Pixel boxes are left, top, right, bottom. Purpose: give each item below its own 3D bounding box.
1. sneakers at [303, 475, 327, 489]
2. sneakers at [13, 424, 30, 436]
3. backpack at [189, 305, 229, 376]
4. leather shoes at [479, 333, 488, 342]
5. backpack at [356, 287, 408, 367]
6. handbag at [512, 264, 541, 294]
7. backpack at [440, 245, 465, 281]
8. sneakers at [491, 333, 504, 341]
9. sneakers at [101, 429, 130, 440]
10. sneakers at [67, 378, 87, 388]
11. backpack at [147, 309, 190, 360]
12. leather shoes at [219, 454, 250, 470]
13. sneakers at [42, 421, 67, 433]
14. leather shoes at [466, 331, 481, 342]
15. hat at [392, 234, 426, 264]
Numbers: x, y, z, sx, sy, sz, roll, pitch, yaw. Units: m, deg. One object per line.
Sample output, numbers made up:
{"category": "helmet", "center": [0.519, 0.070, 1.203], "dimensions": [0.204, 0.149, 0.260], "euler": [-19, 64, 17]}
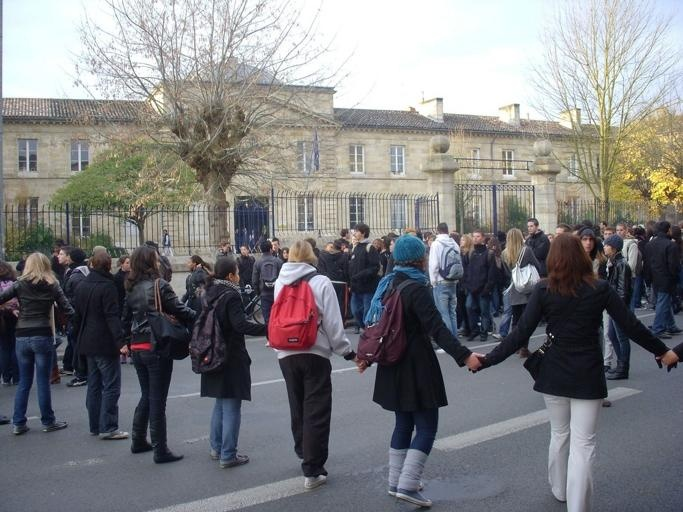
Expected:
{"category": "sneakers", "center": [-0.309, 2.581, 9.472], "dimensions": [0.264, 0.134, 0.103], "euler": [-5, 5, -39]}
{"category": "sneakers", "center": [-4.402, 2.358, 11.177], "dimensions": [0.239, 0.099, 0.109], "euler": [14, -26, -29]}
{"category": "backpack", "center": [-1.653, 1.011, 9.954], "dimensions": [0.495, 0.836, 0.297], "euler": [6, 15, 32]}
{"category": "leather shoes", "center": [2.690, 1.528, 15.488], "dimensions": [0.098, 0.132, 0.312], "euler": [-2, -8, 16]}
{"category": "backpack", "center": [0.452, 0.805, 9.310], "dimensions": [0.443, 0.924, 0.567], "euler": [9, -10, -33]}
{"category": "handbag", "center": [2.971, 0.361, 13.192], "dimensions": [0.362, 0.477, 0.269], "euler": [-6, -13, 25]}
{"category": "backpack", "center": [1.948, 0.098, 14.695], "dimensions": [0.357, 0.593, 0.408], "euler": [14, 17, 39]}
{"category": "sneakers", "center": [2.970, 1.529, 15.658], "dimensions": [0.083, 0.110, 0.240], "euler": [-1, -15, 33]}
{"category": "sneakers", "center": [-3.017, 2.328, 10.846], "dimensions": [0.336, 0.172, 0.142], "euler": [-1, -8, -6]}
{"category": "sneakers", "center": [-4.336, 2.057, 13.363], "dimensions": [0.317, 0.161, 0.121], "euler": [3, -5, -7]}
{"category": "backpack", "center": [-2.181, 0.963, 10.138], "dimensions": [0.474, 0.513, 0.199], "euler": [15, -23, -42]}
{"category": "leather shoes", "center": [-1.300, 2.473, 9.923], "dimensions": [0.360, 0.172, 0.136], "euler": [-8, 8, -26]}
{"category": "sneakers", "center": [-3.937, 2.306, 11.246], "dimensions": [0.332, 0.158, 0.126], "euler": [-8, 6, -14]}
{"category": "leather shoes", "center": [2.500, 1.516, 15.663], "dimensions": [0.296, 0.140, 0.115], "euler": [-13, -1, -11]}
{"category": "hat", "center": [0.765, -0.091, 9.375], "dimensions": [0.311, 0.299, 0.317], "euler": [1, 2, -27]}
